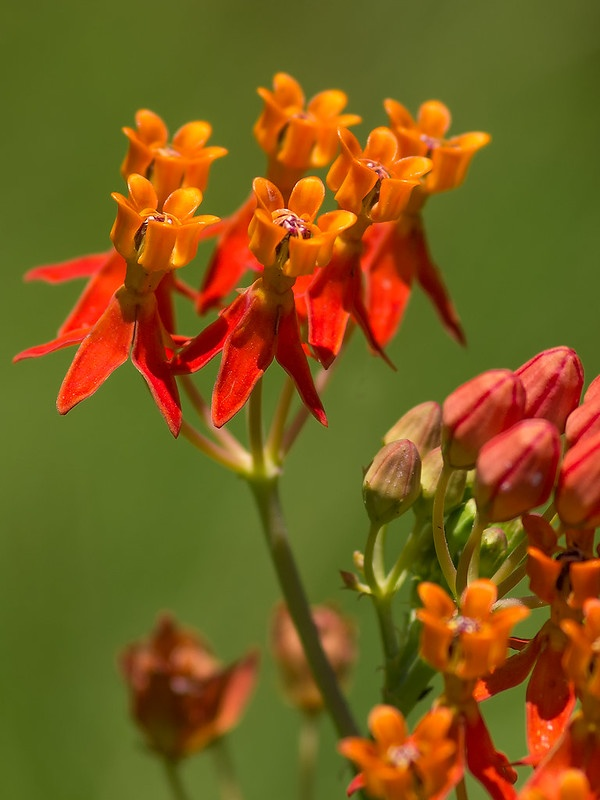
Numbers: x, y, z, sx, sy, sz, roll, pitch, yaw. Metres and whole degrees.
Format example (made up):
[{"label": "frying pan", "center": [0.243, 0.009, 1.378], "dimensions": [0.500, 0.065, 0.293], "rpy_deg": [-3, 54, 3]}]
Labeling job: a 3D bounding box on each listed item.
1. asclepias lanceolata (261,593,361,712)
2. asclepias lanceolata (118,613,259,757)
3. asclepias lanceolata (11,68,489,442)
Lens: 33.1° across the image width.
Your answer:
[{"label": "asclepias lanceolata", "center": [0.000, 0.183, 0.788], "dimensions": [0.072, 0.084, 0.091], "rpy_deg": [-4, 15, -4]}, {"label": "asclepias lanceolata", "center": [-0.076, 0.202, 0.705], "dimensions": [0.071, 0.082, 0.083], "rpy_deg": [15, -31, 16]}, {"label": "asclepias lanceolata", "center": [-0.018, -0.053, 0.636], "dimensions": [0.270, 0.125, 0.269], "rpy_deg": [3, 40, 10]}]
